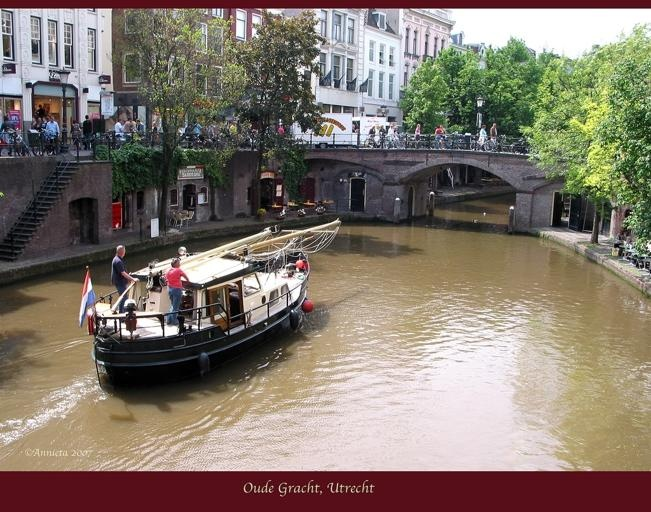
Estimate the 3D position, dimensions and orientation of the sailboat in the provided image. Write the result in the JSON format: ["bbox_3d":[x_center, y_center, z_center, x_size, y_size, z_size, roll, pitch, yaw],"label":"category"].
[{"bbox_3d":[-2.906,1.056,16.785,2.531,3.010,7.476,9,14,26],"label":"sailboat"}]

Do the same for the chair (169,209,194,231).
[{"bbox_3d":[-7.867,-1.896,33.632,1.128,0.934,1.090,1,6,21],"label":"chair"}]

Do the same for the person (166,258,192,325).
[{"bbox_3d":[-3.642,0.859,15.190,0.464,1.572,0.477,-2,12,-33],"label":"person"}]

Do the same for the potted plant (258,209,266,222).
[{"bbox_3d":[-3.780,-2.426,36.964,0.588,0.649,0.600,3,7,13],"label":"potted plant"}]

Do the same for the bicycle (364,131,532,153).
[{"bbox_3d":[7.921,-7.474,41.509,10.935,1.285,0.973,9,15,27],"label":"bicycle"}]
